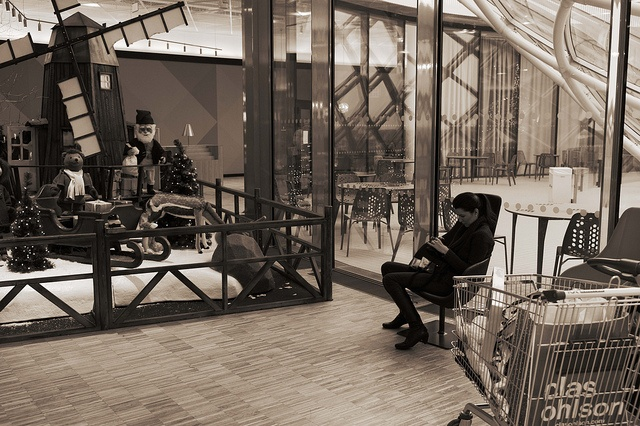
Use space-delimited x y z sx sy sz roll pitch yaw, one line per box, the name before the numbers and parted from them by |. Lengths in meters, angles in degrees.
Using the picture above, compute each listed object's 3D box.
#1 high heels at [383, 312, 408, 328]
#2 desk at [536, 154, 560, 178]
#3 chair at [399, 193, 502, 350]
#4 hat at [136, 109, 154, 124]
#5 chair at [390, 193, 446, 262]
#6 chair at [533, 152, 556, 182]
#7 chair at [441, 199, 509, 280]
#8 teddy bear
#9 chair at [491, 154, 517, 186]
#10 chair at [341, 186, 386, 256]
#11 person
high heels | 0.746 1.106 5.583 0.346 0.153 0.117 -2 6 13
desk | 2.125 -0.444 5.112 0.192 0.294 0.204 2 0 9
chair | 1.325 0.570 5.142 0.846 1.284 0.781 6 8 1
hat | -3.654 -1.952 11.077 0.449 0.325 0.333 3 6 30
chair | 1.213 0.240 6.427 0.547 0.804 0.508 4 7 -28
chair | 2.116 -0.462 5.089 0.197 0.284 0.206 1 2 8
chair | 1.575 0.151 5.338 0.641 0.984 0.673 0 5 0
teddy bear | -3.378 -0.450 7.437 0.435 0.892 0.543 4 6 43
chair | 1.848 -0.427 5.404 0.272 0.382 0.232 8 12 42
chair | 0.573 0.035 7.179 0.521 0.900 0.591 -2 16 -23
person | 1.107 0.530 5.161 1.021 1.487 0.703 7 10 7
